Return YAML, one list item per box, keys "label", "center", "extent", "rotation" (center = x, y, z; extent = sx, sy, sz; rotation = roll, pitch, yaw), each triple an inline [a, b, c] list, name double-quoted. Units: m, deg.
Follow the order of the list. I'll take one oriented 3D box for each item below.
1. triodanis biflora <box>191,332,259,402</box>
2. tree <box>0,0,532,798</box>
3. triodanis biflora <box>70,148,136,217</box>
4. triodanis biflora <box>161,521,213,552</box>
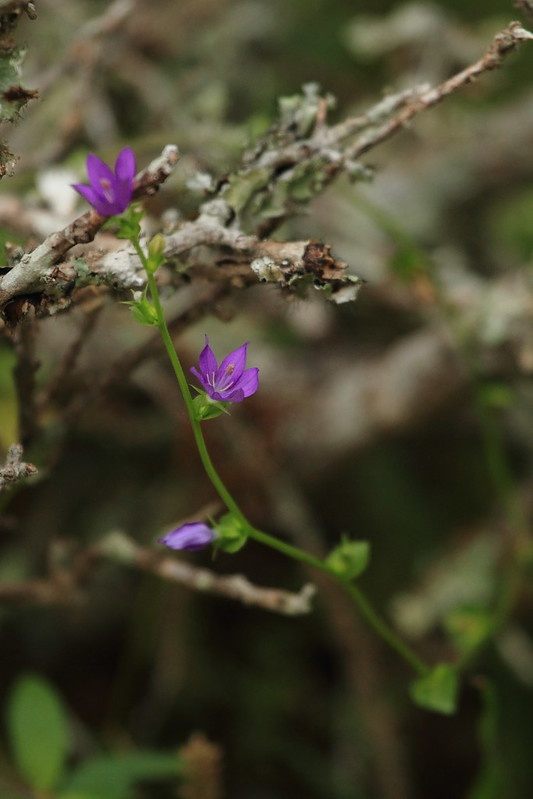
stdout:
- label: "triodanis biflora"
  center: [-0.042, -0.037, 0.768]
  extent: [0.058, 0.094, 0.067]
  rotation: [-8, 55, 7]
- label: "tree"
  center: [0.031, -0.019, 1.106]
  extent: [0.896, 0.369, 0.968]
  rotation: [0, 79, 6]
- label: "triodanis biflora"
  center: [-0.134, -0.185, 0.654]
  extent: [0.050, 0.054, 0.050]
  rotation: [-14, 54, 2]
- label: "triodanis biflora"
  center: [-0.077, 0.141, 0.750]
  extent: [0.053, 0.024, 0.012]
  rotation: [5, 11, -23]
